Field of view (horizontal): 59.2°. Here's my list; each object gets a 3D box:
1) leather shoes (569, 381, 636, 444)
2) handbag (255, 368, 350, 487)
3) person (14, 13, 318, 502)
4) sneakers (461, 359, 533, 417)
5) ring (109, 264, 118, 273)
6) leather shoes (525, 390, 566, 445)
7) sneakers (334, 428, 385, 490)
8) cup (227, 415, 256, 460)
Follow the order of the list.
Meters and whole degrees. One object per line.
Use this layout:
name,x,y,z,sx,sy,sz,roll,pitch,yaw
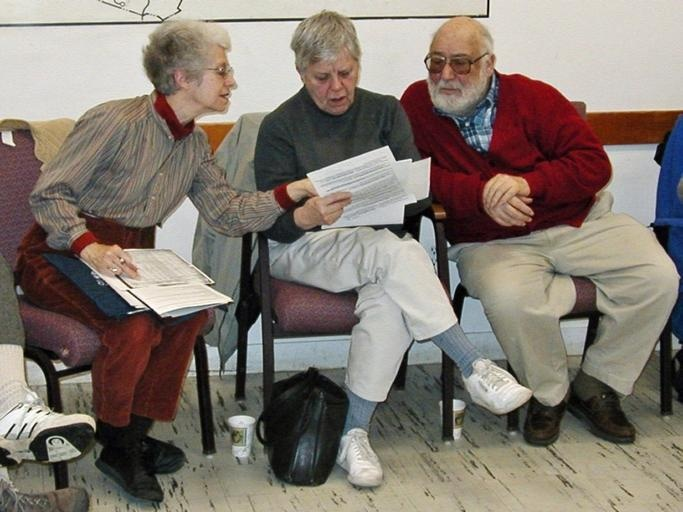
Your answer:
leather shoes,1.035,0.623,2.449,0.119,0.135,0.295,-17,42,-25
handbag,-0.143,0.591,2.144,0.311,0.401,0.314,13,-11,-30
person,-0.666,-0.026,2.198,0.833,1.594,0.865,8,6,43
sneakers,0.520,0.439,2.180,0.123,0.144,0.302,-41,19,-12
ring,-0.708,0.040,1.896,0.026,0.022,0.008,2,14,8
leather shoes,0.793,0.639,2.388,0.088,0.113,0.252,5,12,18
sneakers,0.067,0.700,2.148,0.138,0.131,0.313,-1,2,-12
cup,-0.364,0.665,2.217,0.131,0.144,0.127,1,8,0
